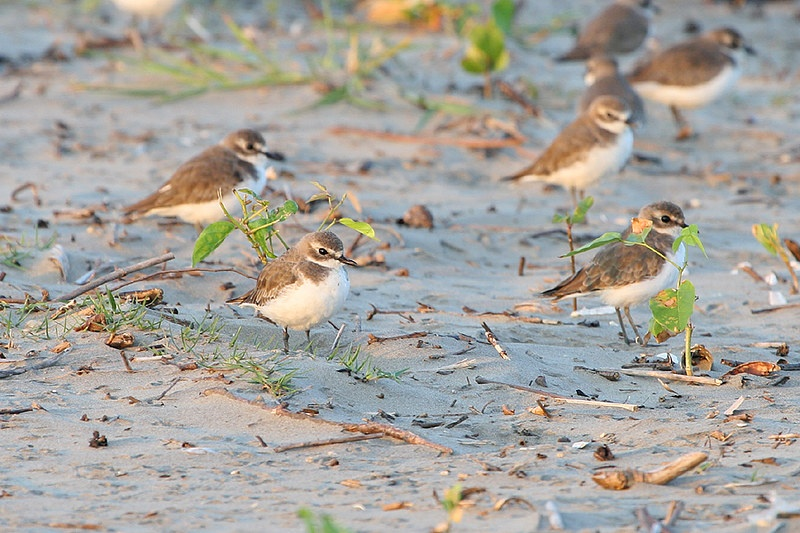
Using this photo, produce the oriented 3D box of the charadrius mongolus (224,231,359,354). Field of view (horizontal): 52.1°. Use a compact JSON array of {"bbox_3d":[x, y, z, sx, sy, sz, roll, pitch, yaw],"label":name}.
[{"bbox_3d":[-0.864,0.231,6.917,1.465,0.759,0.980,3,99,37],"label":"charadrius mongolus"}]
